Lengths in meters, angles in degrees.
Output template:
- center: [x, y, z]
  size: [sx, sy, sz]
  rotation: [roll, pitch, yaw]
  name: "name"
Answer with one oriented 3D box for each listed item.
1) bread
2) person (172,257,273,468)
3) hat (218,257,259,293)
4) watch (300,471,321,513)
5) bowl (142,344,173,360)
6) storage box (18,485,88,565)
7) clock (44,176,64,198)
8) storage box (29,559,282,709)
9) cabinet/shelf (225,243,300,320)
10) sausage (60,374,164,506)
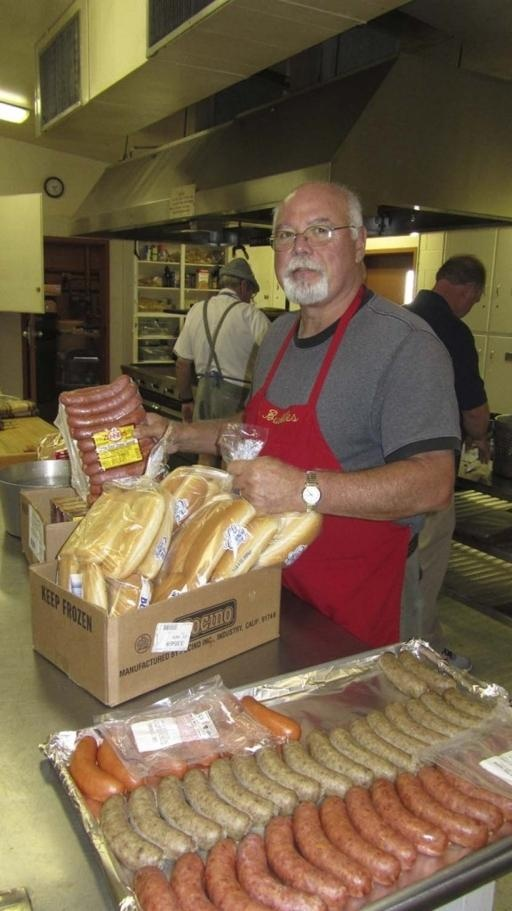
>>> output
- center: [-0.117, 0.133, 1.049]
  size: [0.263, 0.085, 0.264]
  rotation: [-22, 26, -35]
  name: "bread"
- center: [-0.188, -0.419, 4.383]
  size: [0.698, 1.688, 0.539]
  rotation: [10, 15, 17]
  name: "person"
- center: [-0.095, -1.187, 4.280]
  size: [0.237, 0.177, 0.177]
  rotation: [-2, 15, -43]
  name: "hat"
- center: [0.099, 0.067, 1.170]
  size: [0.027, 0.074, 0.071]
  rotation: [-2, -8, 3]
  name: "watch"
- center: [-1.216, -1.298, 8.172]
  size: [0.294, 0.101, 0.318]
  rotation: [3, 22, -1]
  name: "bowl"
- center: [-0.403, 0.149, 1.424]
  size: [0.140, 0.118, 0.190]
  rotation: [21, 20, 38]
  name: "storage box"
- center: [-2.432, -3.239, 7.860]
  size: [0.252, 0.244, 0.115]
  rotation: [-8, 10, -39]
  name: "clock"
- center: [-0.201, 0.264, 1.038]
  size: [0.303, 0.147, 0.213]
  rotation: [-7, 9, -41]
  name: "storage box"
- center: [0.124, -2.395, 8.484]
  size: [0.744, 0.733, 0.458]
  rotation: [4, 38, -2]
  name: "cabinet/shelf"
- center: [-0.290, -0.014, 1.337]
  size: [0.190, 0.250, 0.066]
  rotation: [-19, 1, -29]
  name: "sausage"
